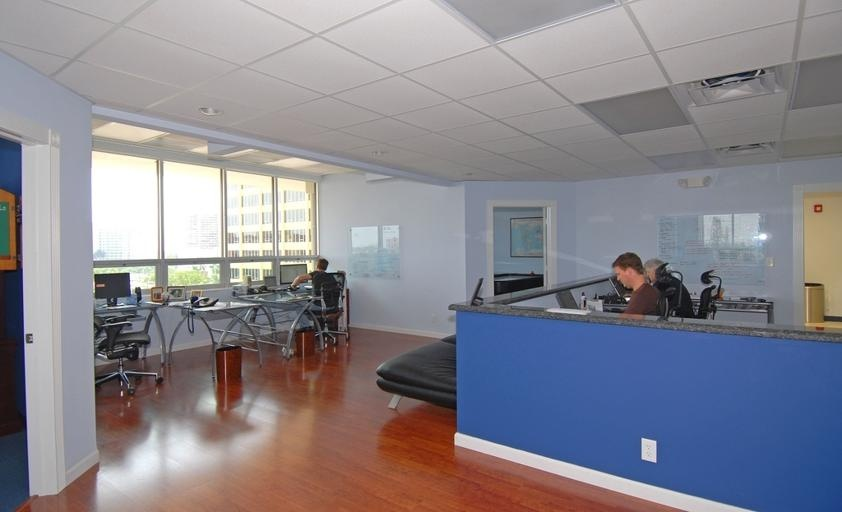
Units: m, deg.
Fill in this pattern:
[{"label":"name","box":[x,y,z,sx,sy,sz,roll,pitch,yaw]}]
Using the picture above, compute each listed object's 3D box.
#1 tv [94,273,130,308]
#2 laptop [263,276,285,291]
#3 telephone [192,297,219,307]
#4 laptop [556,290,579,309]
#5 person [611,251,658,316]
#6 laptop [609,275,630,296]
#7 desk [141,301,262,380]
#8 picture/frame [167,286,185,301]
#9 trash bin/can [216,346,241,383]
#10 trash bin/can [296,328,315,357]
[{"label":"tv","box":[-4.690,0.512,7.718,0.187,0.517,0.582,-3,-3,41]},{"label":"laptop","box":[-2.794,0.490,9.696,0.305,0.175,0.314,9,5,29]},{"label":"telephone","box":[-3.344,0.726,7.895,0.302,0.128,0.487,-3,13,-11]},{"label":"laptop","box":[1.629,0.493,5.765,0.267,0.218,0.059,8,-35,-30]},{"label":"person","box":[2.388,0.316,5.688,0.524,0.719,0.873,1,2,32]},{"label":"laptop","box":[2.771,0.414,7.141,0.364,0.309,0.083,10,-37,-46]},{"label":"desk","box":[-3.492,1.572,8.415,1.904,1.139,1.128,2,4,42]},{"label":"picture/frame","box":[-3.948,0.612,8.220,0.232,0.200,0.081,-3,-13,-21]},{"label":"trash bin/can","box":[-2.720,1.533,7.206,0.359,0.446,0.319,-7,15,-23]},{"label":"trash bin/can","box":[-1.940,1.455,8.653,0.415,0.395,0.393,3,-2,-30]}]
